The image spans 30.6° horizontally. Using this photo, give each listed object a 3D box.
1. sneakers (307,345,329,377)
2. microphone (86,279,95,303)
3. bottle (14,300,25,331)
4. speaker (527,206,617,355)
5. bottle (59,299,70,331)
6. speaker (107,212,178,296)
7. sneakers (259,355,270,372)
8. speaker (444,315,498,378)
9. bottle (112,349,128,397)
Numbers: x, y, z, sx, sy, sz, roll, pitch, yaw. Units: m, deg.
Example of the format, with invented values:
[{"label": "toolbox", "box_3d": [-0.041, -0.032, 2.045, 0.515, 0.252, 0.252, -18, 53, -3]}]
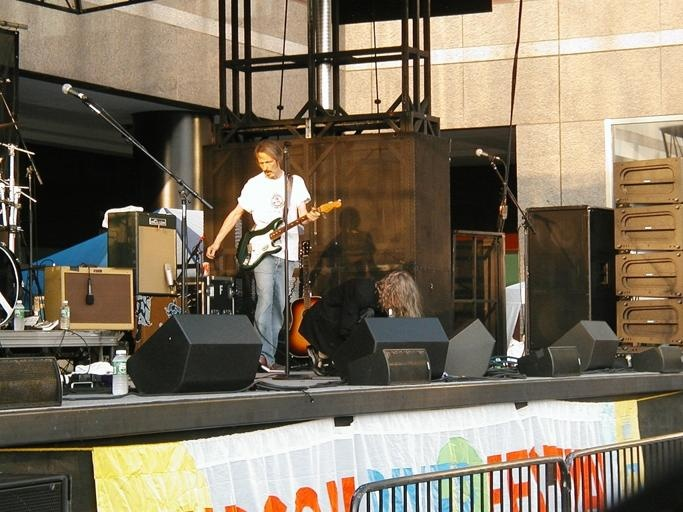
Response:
[{"label": "sneakers", "box_3d": [-0.200, 0.903, 10.842, 0.140, 0.270, 0.092, -27, 6, -26]}, {"label": "microphone", "box_3d": [-2.230, 0.296, 11.055, 0.076, 0.232, 0.063, -1, -2, -13]}, {"label": "bottle", "box_3d": [-2.761, 0.489, 10.667, 0.095, 0.259, 0.442, -1, -2, -15]}, {"label": "speaker", "box_3d": [2.362, 0.185, 12.892, 0.901, 1.453, 0.559, -2, -2, 13]}, {"label": "bottle", "box_3d": [-2.413, 0.499, 10.849, 0.090, 0.262, 0.215, -1, -2, -13]}, {"label": "speaker", "box_3d": [-1.881, -0.033, 11.842, 0.383, 0.774, 0.517, 6, 7, 36]}, {"label": "sneakers", "box_3d": [-0.685, 0.940, 11.099, 0.102, 0.143, 0.405, -2, -2, -4]}, {"label": "speaker", "box_3d": [1.068, 0.764, 10.561, 0.436, 0.477, 0.157, -1, -2, -28]}, {"label": "bottle", "box_3d": [-1.657, 0.855, 9.325, 0.126, 0.330, 0.363, -1, -2, -11]}]
